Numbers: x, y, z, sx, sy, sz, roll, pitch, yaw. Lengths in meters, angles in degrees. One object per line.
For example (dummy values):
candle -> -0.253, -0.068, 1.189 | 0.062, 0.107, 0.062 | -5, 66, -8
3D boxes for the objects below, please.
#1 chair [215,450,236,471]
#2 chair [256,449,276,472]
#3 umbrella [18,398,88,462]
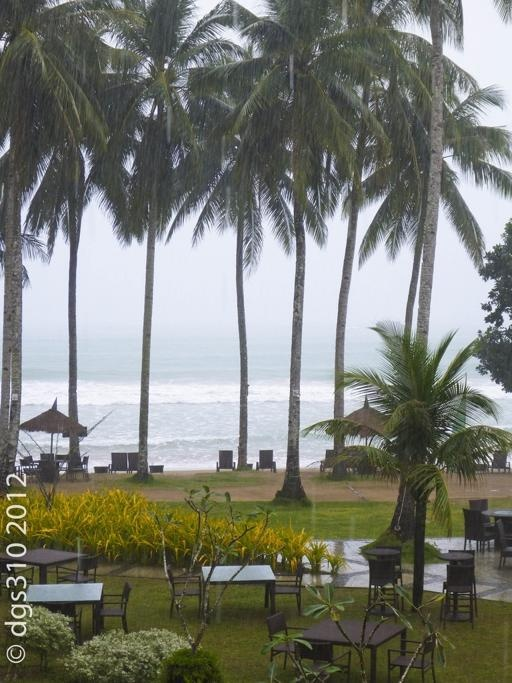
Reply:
chair -> -0.945, 3.855, 35.627 | 0.464, 1.056, 0.644 | 1, -11, -9
chair -> 0.356, 3.812, 34.822 | 0.577, 0.969, 0.547 | 1, -7, -5
umbrella -> -5.658, 2.511, 31.152 | 1.322, 1.331, 2.145 | -8, -10, 42
